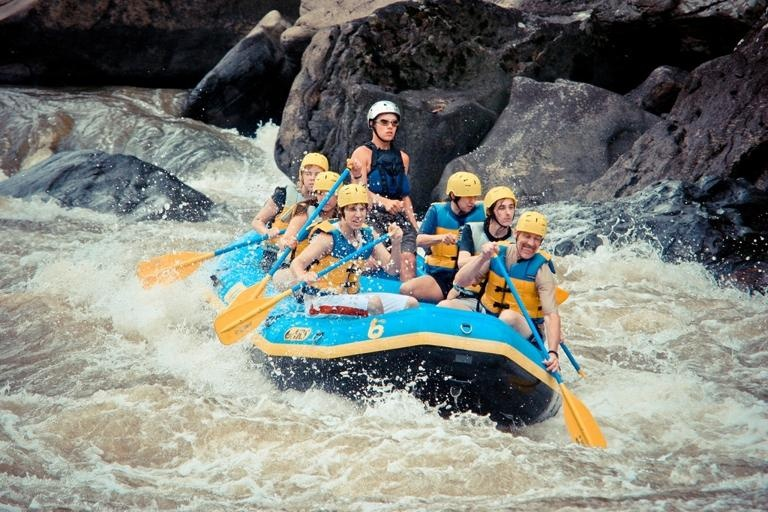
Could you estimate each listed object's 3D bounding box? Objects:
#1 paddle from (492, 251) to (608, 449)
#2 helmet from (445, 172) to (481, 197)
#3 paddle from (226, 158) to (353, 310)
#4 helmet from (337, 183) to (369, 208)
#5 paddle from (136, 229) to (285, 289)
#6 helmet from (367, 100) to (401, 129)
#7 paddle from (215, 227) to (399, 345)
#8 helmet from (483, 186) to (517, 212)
[{"bbox_3d":[1.881,1.162,9.607,0.338,0.198,2.378,-27,65,12],"label":"paddle"},{"bbox_3d":[0.930,-0.868,10.090,0.280,0.212,0.352,-4,13,-31],"label":"helmet"},{"bbox_3d":[-1.209,-0.242,10.920,0.428,0.228,3.040,39,91,15],"label":"paddle"},{"bbox_3d":[-0.367,-0.688,9.901,0.362,0.297,0.258,7,38,-4],"label":"helmet"},{"bbox_3d":[-2.323,0.060,11.209,1.962,0.163,0.400,-19,73,-2],"label":"paddle"},{"bbox_3d":[-0.025,-1.950,11.187,0.353,0.466,0.357,4,62,-19],"label":"helmet"},{"bbox_3d":[-1.013,0.362,10.431,2.653,0.118,0.395,-30,77,-43],"label":"paddle"},{"bbox_3d":[1.351,-0.676,9.770,0.269,0.361,0.274,-1,44,-12],"label":"helmet"}]
